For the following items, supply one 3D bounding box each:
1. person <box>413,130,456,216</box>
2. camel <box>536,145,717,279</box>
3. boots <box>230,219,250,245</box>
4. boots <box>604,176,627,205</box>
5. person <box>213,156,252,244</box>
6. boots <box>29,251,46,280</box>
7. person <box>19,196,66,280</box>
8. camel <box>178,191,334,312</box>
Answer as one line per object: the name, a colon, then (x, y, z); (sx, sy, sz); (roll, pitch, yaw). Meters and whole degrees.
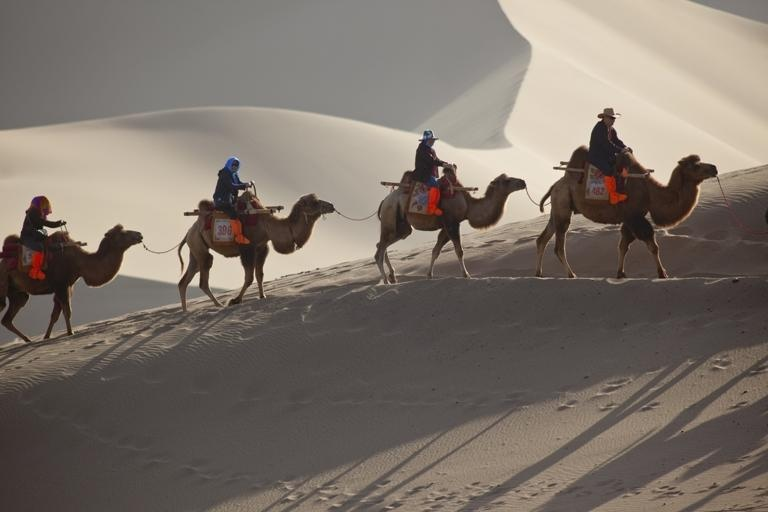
person: (1.179, -1.873, 22.092); (1.055, 2.064, 0.877); (-2, 1, 13)
camel: (5.258, -0.864, 21.405); (3.968, 2.924, 1.100); (1, 8, 21)
boots: (-3.351, -0.554, 22.527); (0.423, 0.608, 0.179); (-2, -1, -17)
boots: (4.933, -1.416, 20.836); (0.587, 0.659, 0.397); (-10, 8, -20)
person: (-3.565, -1.264, 22.707); (0.860, 2.046, 0.677); (-2, -1, -7)
boots: (-8.007, 0.226, 22.280); (0.390, 0.578, 0.209); (3, 4, -11)
person: (-7.992, -0.417, 22.601); (1.004, 1.920, 0.686); (1, -1, -7)
camel: (-3.100, -0.085, 22.968); (3.804, 2.776, 1.067); (-3, 6, 10)
